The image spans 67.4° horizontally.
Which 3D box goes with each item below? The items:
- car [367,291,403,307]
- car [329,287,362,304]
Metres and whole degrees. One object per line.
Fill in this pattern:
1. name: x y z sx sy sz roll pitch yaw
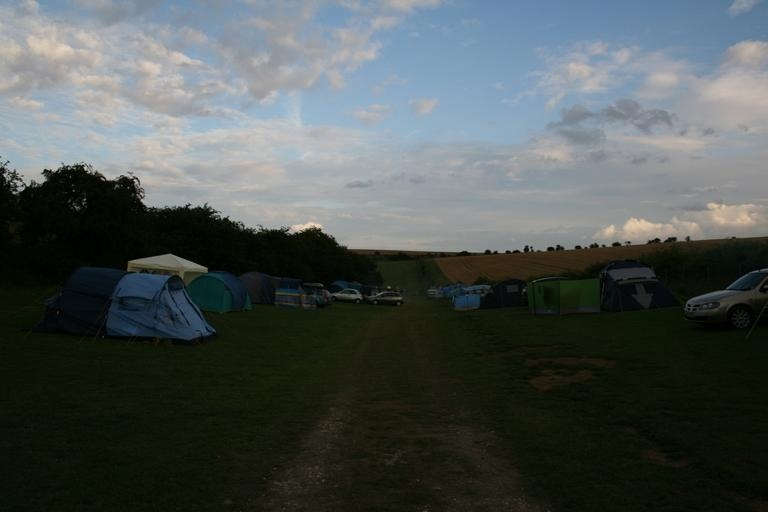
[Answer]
1. car: 0.001 4.130 56.552 2.744 0.964 1.498 3 -5 3
2. car: -3.893 3.996 58.844 2.773 1.064 1.443 5 -5 7
